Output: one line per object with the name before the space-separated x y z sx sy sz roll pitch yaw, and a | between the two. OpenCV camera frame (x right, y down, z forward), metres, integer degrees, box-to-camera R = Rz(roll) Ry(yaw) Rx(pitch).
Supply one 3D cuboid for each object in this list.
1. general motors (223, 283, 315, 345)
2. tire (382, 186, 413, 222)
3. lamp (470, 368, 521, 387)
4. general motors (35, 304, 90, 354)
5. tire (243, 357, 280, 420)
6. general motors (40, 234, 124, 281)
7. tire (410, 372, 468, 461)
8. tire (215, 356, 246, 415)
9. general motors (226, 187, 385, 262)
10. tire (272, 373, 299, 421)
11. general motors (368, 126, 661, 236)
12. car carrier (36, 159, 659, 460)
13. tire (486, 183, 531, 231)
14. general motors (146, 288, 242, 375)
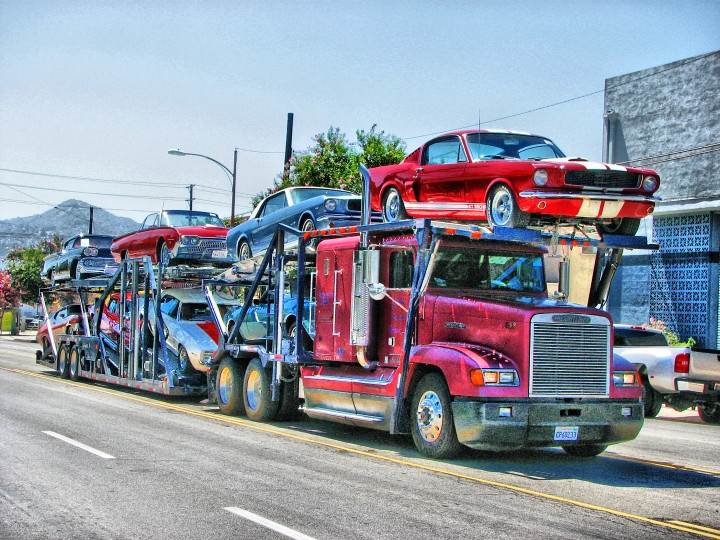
general motors | -1.398 0.837 17.191 1.380 1.016 3.051 -12 5 -41
tire | 0.693 -1.190 16.269 0.301 0.850 0.833 -1 1 -30
lamp | 1.846 1.473 12.337 0.677 0.213 0.139 2 0 -18
general motors | -7.825 1.614 24.178 2.266 0.768 1.152 -9 -7 44
tire | -1.755 2.170 16.311 0.395 1.322 1.173 -1 2 -30
general motors | -7.828 -0.282 25.739 1.630 1.046 3.381 4 -8 -33
tire | 1.154 2.091 12.827 0.459 1.103 0.984 0 22 -29
tire | -2.453 2.231 17.441 0.336 1.005 0.993 3 -10 -27
general motors | -1.423 -1.034 18.631 1.504 0.924 3.261 6 -11 -37
tire | -1.347 2.246 16.187 0.296 0.836 0.823 3 -7 -34
general motors | 2.270 -1.308 15.225 2.339 1.536 5.019 3 -2 -32
car carrier | -1.125 1.034 17.040 4.108 3.574 11.993 6 -5 -31
tire | 2.307 -0.962 13.843 0.303 0.799 0.785 3 0 -27
general motors | -3.640 1.264 19.318 1.197 0.820 2.594 0 7 -26
